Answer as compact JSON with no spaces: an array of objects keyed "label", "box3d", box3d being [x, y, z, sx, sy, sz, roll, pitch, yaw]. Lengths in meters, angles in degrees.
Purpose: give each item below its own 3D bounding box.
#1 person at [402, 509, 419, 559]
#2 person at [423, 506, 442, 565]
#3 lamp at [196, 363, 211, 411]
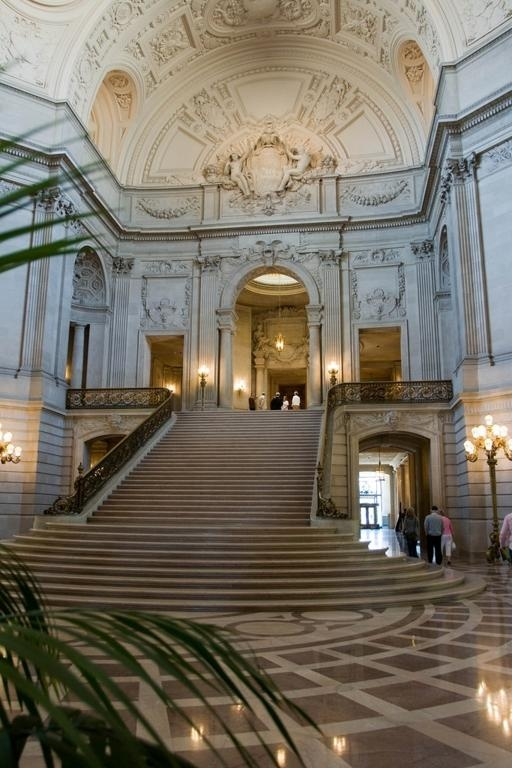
[{"label":"person","box3d":[3.661,3.560,12.752,0.298,1.269,1.137,1,9,17]},{"label":"person","box3d":[3.972,3.392,12.009,0.356,1.168,0.759,2,9,19]},{"label":"lamp","box3d":[-2.076,0.103,20.836,0.460,1.537,0.675,1,8,12]}]
